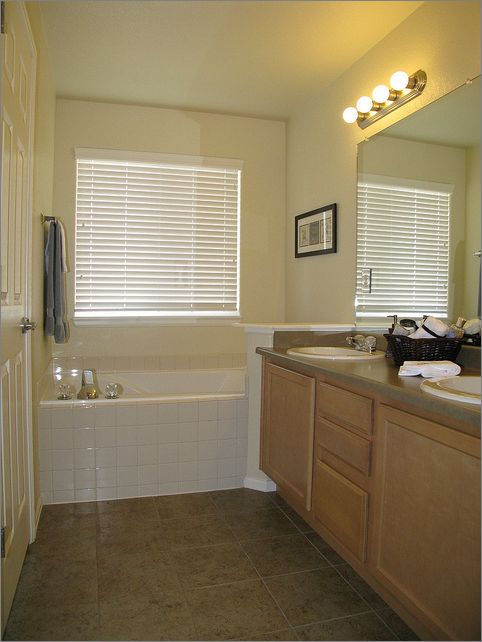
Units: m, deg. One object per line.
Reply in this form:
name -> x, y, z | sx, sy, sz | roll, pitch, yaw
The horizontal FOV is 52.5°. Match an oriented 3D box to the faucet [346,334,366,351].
faucet -> 0.543, 0.096, 2.303 | 0.059, 0.075, 0.093 | 1, -1, -28

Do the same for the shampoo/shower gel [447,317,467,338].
shampoo/shower gel -> 0.802, 0.021, 1.814 | 0.033, 0.096, 0.031 | 21, 2, -22

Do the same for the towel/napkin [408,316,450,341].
towel/napkin -> 0.676, 0.021, 1.766 | 0.032, 0.093, 0.104 | -21, -14, 40

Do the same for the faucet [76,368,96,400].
faucet -> -0.847, 0.340, 2.699 | 0.112, 0.155, 0.147 | 3, 8, -9

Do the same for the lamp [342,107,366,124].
lamp -> 0.610, -1.122, 2.626 | 0.131, 0.090, 0.081 | -22, 46, -41

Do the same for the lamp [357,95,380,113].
lamp -> 0.653, -1.105, 2.507 | 0.079, 0.105, 0.092 | 2, 12, 41

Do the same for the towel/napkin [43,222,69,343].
towel/napkin -> -0.998, -0.228, 2.641 | 0.126, 0.671, 0.146 | 0, 1, -28

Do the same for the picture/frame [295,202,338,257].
picture/frame -> 0.510, -0.618, 3.348 | 0.016, 0.309, 0.418 | -3, 3, -31
